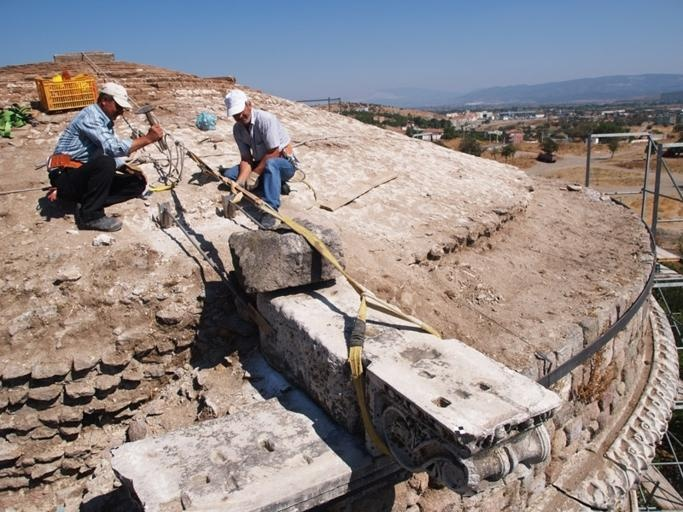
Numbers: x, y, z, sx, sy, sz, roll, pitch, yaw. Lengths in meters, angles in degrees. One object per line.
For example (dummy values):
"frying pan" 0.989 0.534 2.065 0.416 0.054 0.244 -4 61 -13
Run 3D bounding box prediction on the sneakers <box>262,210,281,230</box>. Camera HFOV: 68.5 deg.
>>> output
"sneakers" -0.763 -0.374 5.246 0.202 0.120 0.348 -12 17 -17

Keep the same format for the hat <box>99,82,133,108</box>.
"hat" -2.252 -1.611 5.038 0.264 0.246 0.333 -3 21 -10

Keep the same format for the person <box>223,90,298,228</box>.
"person" -0.974 -1.185 5.766 0.828 1.360 1.222 0 22 -2

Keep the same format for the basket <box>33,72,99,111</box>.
"basket" -3.900 -2.305 7.364 0.793 0.398 0.735 -17 38 -29

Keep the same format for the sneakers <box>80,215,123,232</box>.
"sneakers" -2.338 -0.332 4.965 0.400 0.122 0.160 -1 29 -5

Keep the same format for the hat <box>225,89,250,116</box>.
"hat" -1.139 -1.653 5.464 0.228 0.278 0.283 -3 22 -8

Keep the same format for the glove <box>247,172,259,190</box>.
"glove" -1.026 -0.857 5.792 0.077 0.190 0.146 39 7 4

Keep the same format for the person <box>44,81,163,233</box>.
"person" -2.391 -0.997 5.030 0.927 1.416 0.835 -14 27 -31
